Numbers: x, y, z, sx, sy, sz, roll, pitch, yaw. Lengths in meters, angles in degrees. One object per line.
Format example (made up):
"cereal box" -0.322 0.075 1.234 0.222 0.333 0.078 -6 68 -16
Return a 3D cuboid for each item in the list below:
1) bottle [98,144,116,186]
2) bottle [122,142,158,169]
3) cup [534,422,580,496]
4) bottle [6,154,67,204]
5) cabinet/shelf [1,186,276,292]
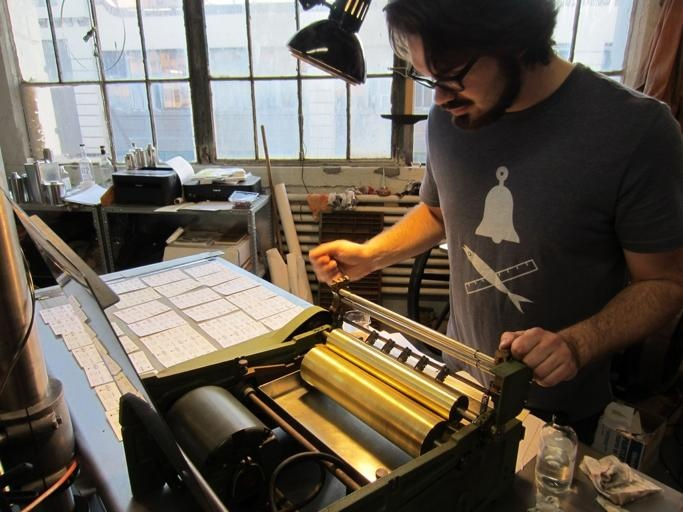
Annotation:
"bottle" -1.728 -0.675 3.499 0.106 0.270 0.406 -13 18 -24
"bottle" -1.370 -0.698 3.311 0.230 0.243 0.180 -9 25 -24
"cup" 0.542 0.499 1.223 0.109 0.178 0.104 9 1 0
"bottle" -1.926 -0.454 3.024 0.290 0.270 0.242 -15 19 -29
"cabinet/shelf" -1.022 -0.129 3.239 1.080 0.579 0.514 -3 17 9
